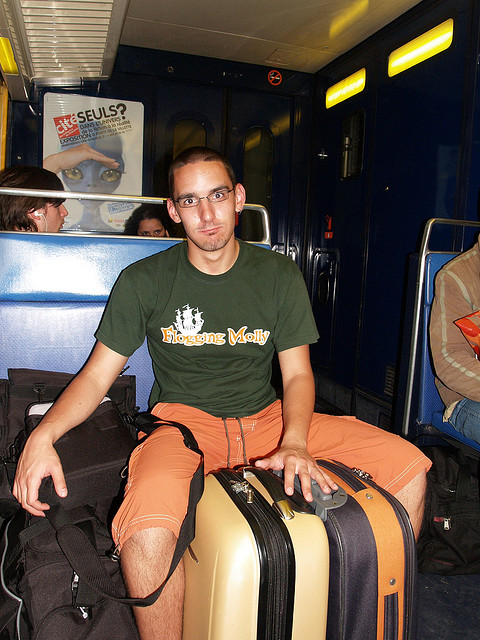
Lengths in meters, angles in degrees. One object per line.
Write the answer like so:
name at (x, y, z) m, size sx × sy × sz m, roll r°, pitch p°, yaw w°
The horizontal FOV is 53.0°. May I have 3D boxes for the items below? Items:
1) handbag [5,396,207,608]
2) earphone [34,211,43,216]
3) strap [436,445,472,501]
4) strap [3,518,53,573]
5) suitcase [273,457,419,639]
handbag at (-0.368, 0.479, 1.481) m, size 0.410 × 0.263 × 0.725 m, roll -11°, pitch 21°, yaw -22°
earphone at (-1.112, -0.587, 2.656) m, size 0.008 × 0.024 × 0.037 m, roll 12°, pitch 15°, yaw 37°
strap at (0.987, 0.709, 2.202) m, size 0.111 × 0.189 × 0.199 m, roll 2°, pitch 12°, yaw 6°
strap at (-0.615, 0.636, 1.387) m, size 0.098 × 0.139 × 0.033 m, roll 32°, pitch -10°, yaw -16°
suitcase at (0.316, 0.578, 1.527) m, size 0.349 × 0.678 × 0.434 m, roll 1°, pitch -7°, yaw -14°
